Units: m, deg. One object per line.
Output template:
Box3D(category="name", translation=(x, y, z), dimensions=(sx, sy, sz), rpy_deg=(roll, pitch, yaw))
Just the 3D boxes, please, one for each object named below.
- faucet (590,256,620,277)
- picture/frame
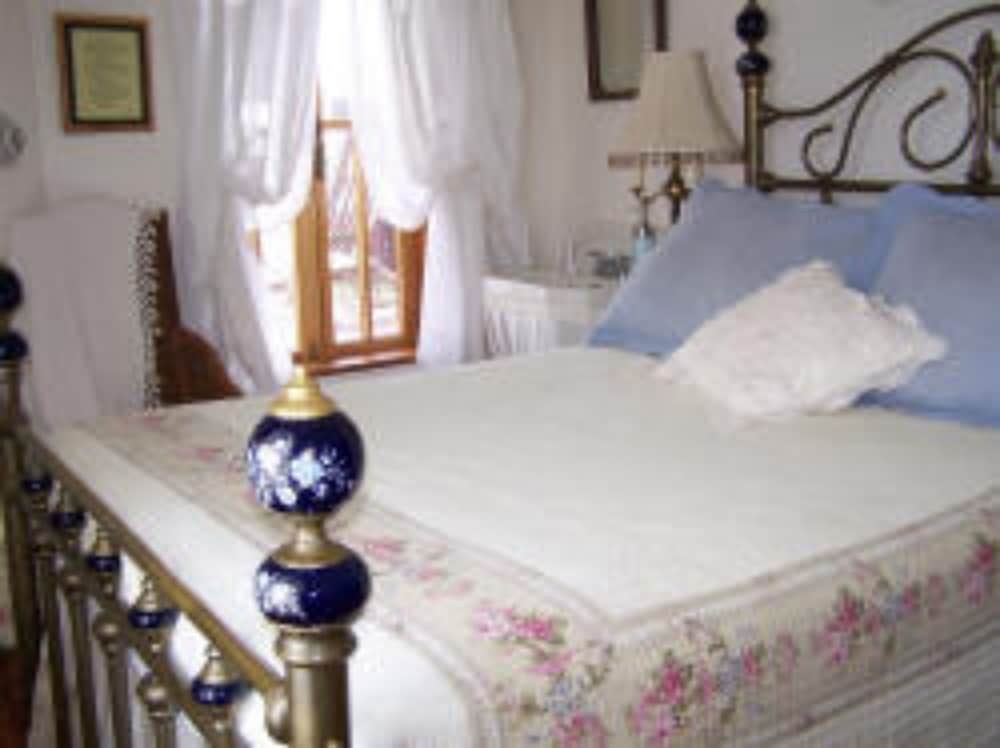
Box3D(category="faucet", translation=(0.472, -0.476, 3.480), dimensions=(0.036, 0.090, 0.108), rpy_deg=(-6, 5, -39))
Box3D(category="picture/frame", translation=(-1.553, -1.180, 3.006), dimensions=(0.413, 0.594, 0.040), rpy_deg=(-5, 13, -26))
